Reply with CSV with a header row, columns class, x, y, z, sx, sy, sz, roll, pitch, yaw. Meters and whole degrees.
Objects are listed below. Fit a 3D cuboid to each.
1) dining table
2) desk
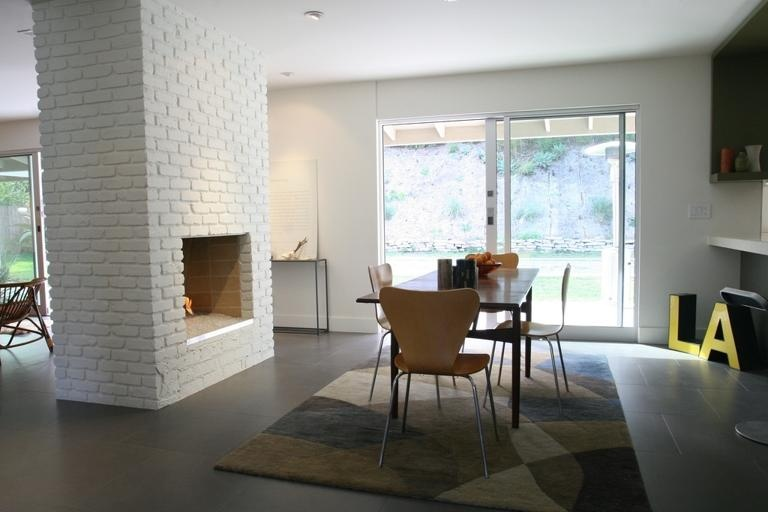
class,x,y,z,sx,sy,sz,roll,pitch,yaw
dining table,0.543,0.420,4.252,1.175,0.966,2.094,1,3,16
desk,-1.062,0.519,6.815,1.017,0.788,0.345,2,8,18
